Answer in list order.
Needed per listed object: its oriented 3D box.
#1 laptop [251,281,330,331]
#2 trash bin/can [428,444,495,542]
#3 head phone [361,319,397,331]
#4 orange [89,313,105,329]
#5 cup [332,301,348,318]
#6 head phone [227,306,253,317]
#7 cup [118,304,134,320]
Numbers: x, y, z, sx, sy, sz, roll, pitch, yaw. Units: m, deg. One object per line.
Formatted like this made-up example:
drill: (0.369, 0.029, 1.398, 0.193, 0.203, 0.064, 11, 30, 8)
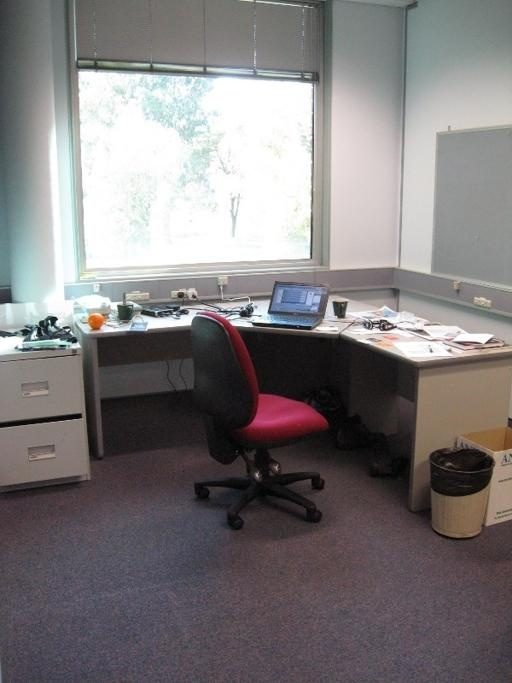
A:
laptop: (0.200, -0.192, 3.035, 0.348, 0.211, 0.312, 6, 14, 30)
trash bin/can: (0.811, 0.621, 2.191, 0.237, 0.332, 0.295, 7, 12, 41)
head phone: (0.653, -0.086, 2.902, 0.178, 0.041, 0.213, 2, 9, 15)
orange: (-0.863, -0.115, 2.952, 0.082, 0.089, 0.101, -10, -6, 36)
cup: (0.486, -0.185, 3.158, 0.073, 0.104, 0.107, 1, 9, 9)
head phone: (-0.076, -0.174, 3.262, 0.098, 0.038, 0.100, 4, 11, 31)
cup: (-0.742, -0.166, 3.094, 0.073, 0.074, 0.090, 1, 18, -5)
